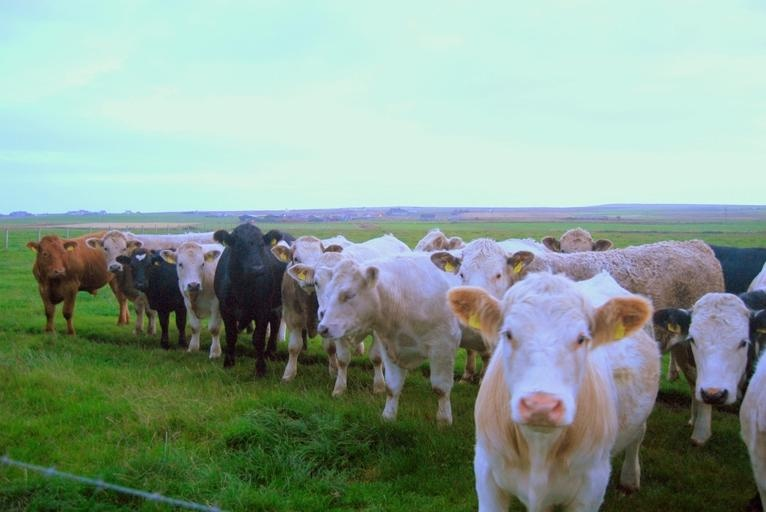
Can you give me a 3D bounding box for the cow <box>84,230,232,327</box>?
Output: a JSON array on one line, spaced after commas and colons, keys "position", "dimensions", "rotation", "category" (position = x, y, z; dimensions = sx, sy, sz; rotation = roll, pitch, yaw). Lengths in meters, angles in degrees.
[{"position": [-7.234, 0.356, 18.807], "dimensions": [5.361, 2.741, 2.168], "rotation": [3, 0, -27], "category": "cow"}]
